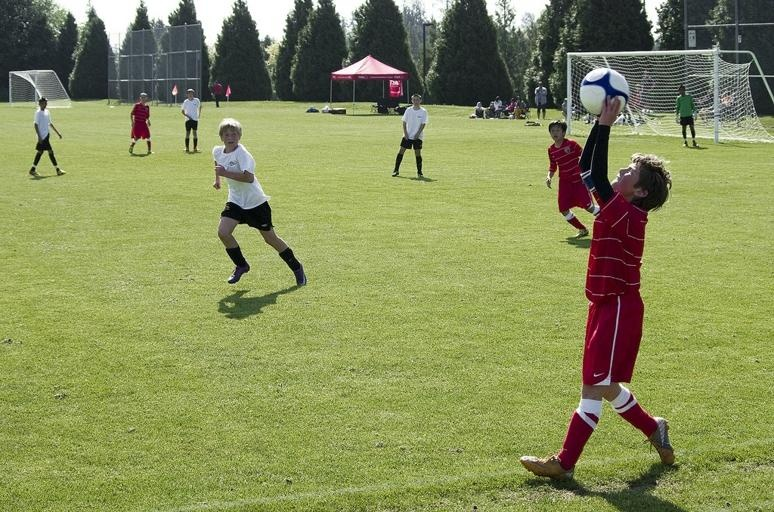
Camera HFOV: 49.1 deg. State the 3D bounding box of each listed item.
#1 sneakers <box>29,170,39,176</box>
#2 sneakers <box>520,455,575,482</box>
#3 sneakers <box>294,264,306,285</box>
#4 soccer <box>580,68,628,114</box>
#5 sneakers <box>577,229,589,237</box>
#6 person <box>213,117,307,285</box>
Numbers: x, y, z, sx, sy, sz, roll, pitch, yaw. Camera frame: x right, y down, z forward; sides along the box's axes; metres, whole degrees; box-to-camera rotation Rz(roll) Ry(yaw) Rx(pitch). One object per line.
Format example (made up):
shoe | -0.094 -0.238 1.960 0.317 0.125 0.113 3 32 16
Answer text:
sneakers | -8.779 -2.134 21.015 0.195 0.221 0.529 -5 9 -23
sneakers | 1.395 1.805 7.374 0.428 0.207 0.197 20 -8 2
sneakers | -1.170 0.240 11.459 0.112 0.323 0.136 -7 -1 32
soccer | 1.987 -1.551 7.689 0.410 0.449 0.446 -12 11 10
sneakers | 3.243 -0.389 13.883 0.080 0.098 0.227 -6 1 40
person | -1.807 -0.782 11.575 1.029 2.208 1.323 -3 7 -12
